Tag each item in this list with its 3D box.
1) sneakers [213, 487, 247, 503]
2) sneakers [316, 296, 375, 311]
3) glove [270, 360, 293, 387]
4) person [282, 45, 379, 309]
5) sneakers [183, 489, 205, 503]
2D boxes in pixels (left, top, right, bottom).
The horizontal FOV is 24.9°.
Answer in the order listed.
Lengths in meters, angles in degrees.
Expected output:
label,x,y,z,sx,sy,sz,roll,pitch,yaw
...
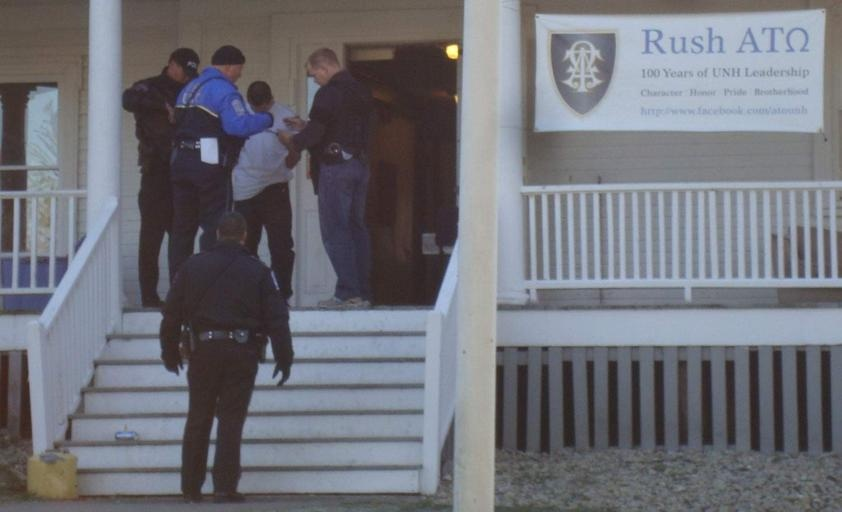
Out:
label,x,y,z,sx,sy,sz,roll,pitch,yaw
sneakers,-2.099,2.659,20.949,0.371,0.139,0.129,0,-2,-4
sneakers,-0.905,0.543,22.379,0.622,0.139,0.296,0,2,-3
glove,-1.554,1.324,21.374,0.262,0.237,0.477,-12,-8,-4
person,-1.013,-0.934,22.434,0.823,3.065,0.507,0,2,-3
sneakers,-2.513,2.659,20.948,0.187,0.107,0.063,5,-14,-1
